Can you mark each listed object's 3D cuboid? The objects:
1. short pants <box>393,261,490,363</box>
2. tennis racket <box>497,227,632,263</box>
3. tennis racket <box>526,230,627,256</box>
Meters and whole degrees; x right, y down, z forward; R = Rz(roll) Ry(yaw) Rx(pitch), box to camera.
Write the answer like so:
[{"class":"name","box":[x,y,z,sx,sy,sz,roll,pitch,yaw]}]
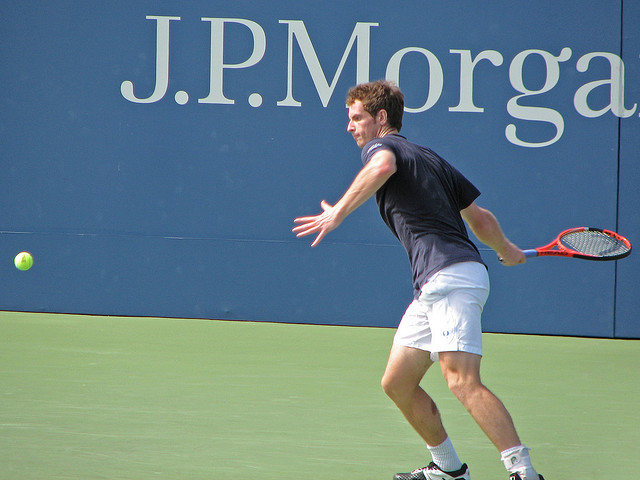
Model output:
[{"class":"short pants","box":[0.892,0.523,7.801,0.465,0.825,0.817,14,-19,-22]},{"class":"tennis racket","box":[2.116,0.040,8.761,0.818,0.217,0.663,1,15,-3]},{"class":"tennis racket","box":[2.069,0.056,8.719,0.833,0.046,0.335,-14,20,-24]}]
